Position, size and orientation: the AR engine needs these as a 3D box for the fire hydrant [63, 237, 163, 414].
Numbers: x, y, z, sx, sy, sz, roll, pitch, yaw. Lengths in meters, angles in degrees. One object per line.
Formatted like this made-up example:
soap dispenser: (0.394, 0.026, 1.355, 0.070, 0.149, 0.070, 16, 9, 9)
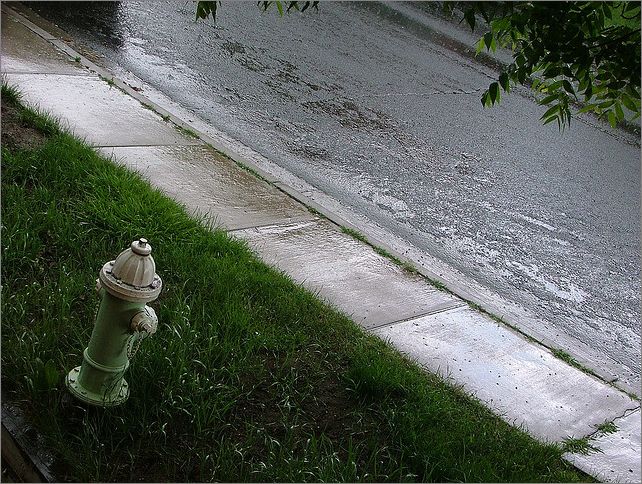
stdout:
fire hydrant: (-1.327, 0.575, 4.286, 0.488, 1.064, 0.566, 3, 30, -38)
